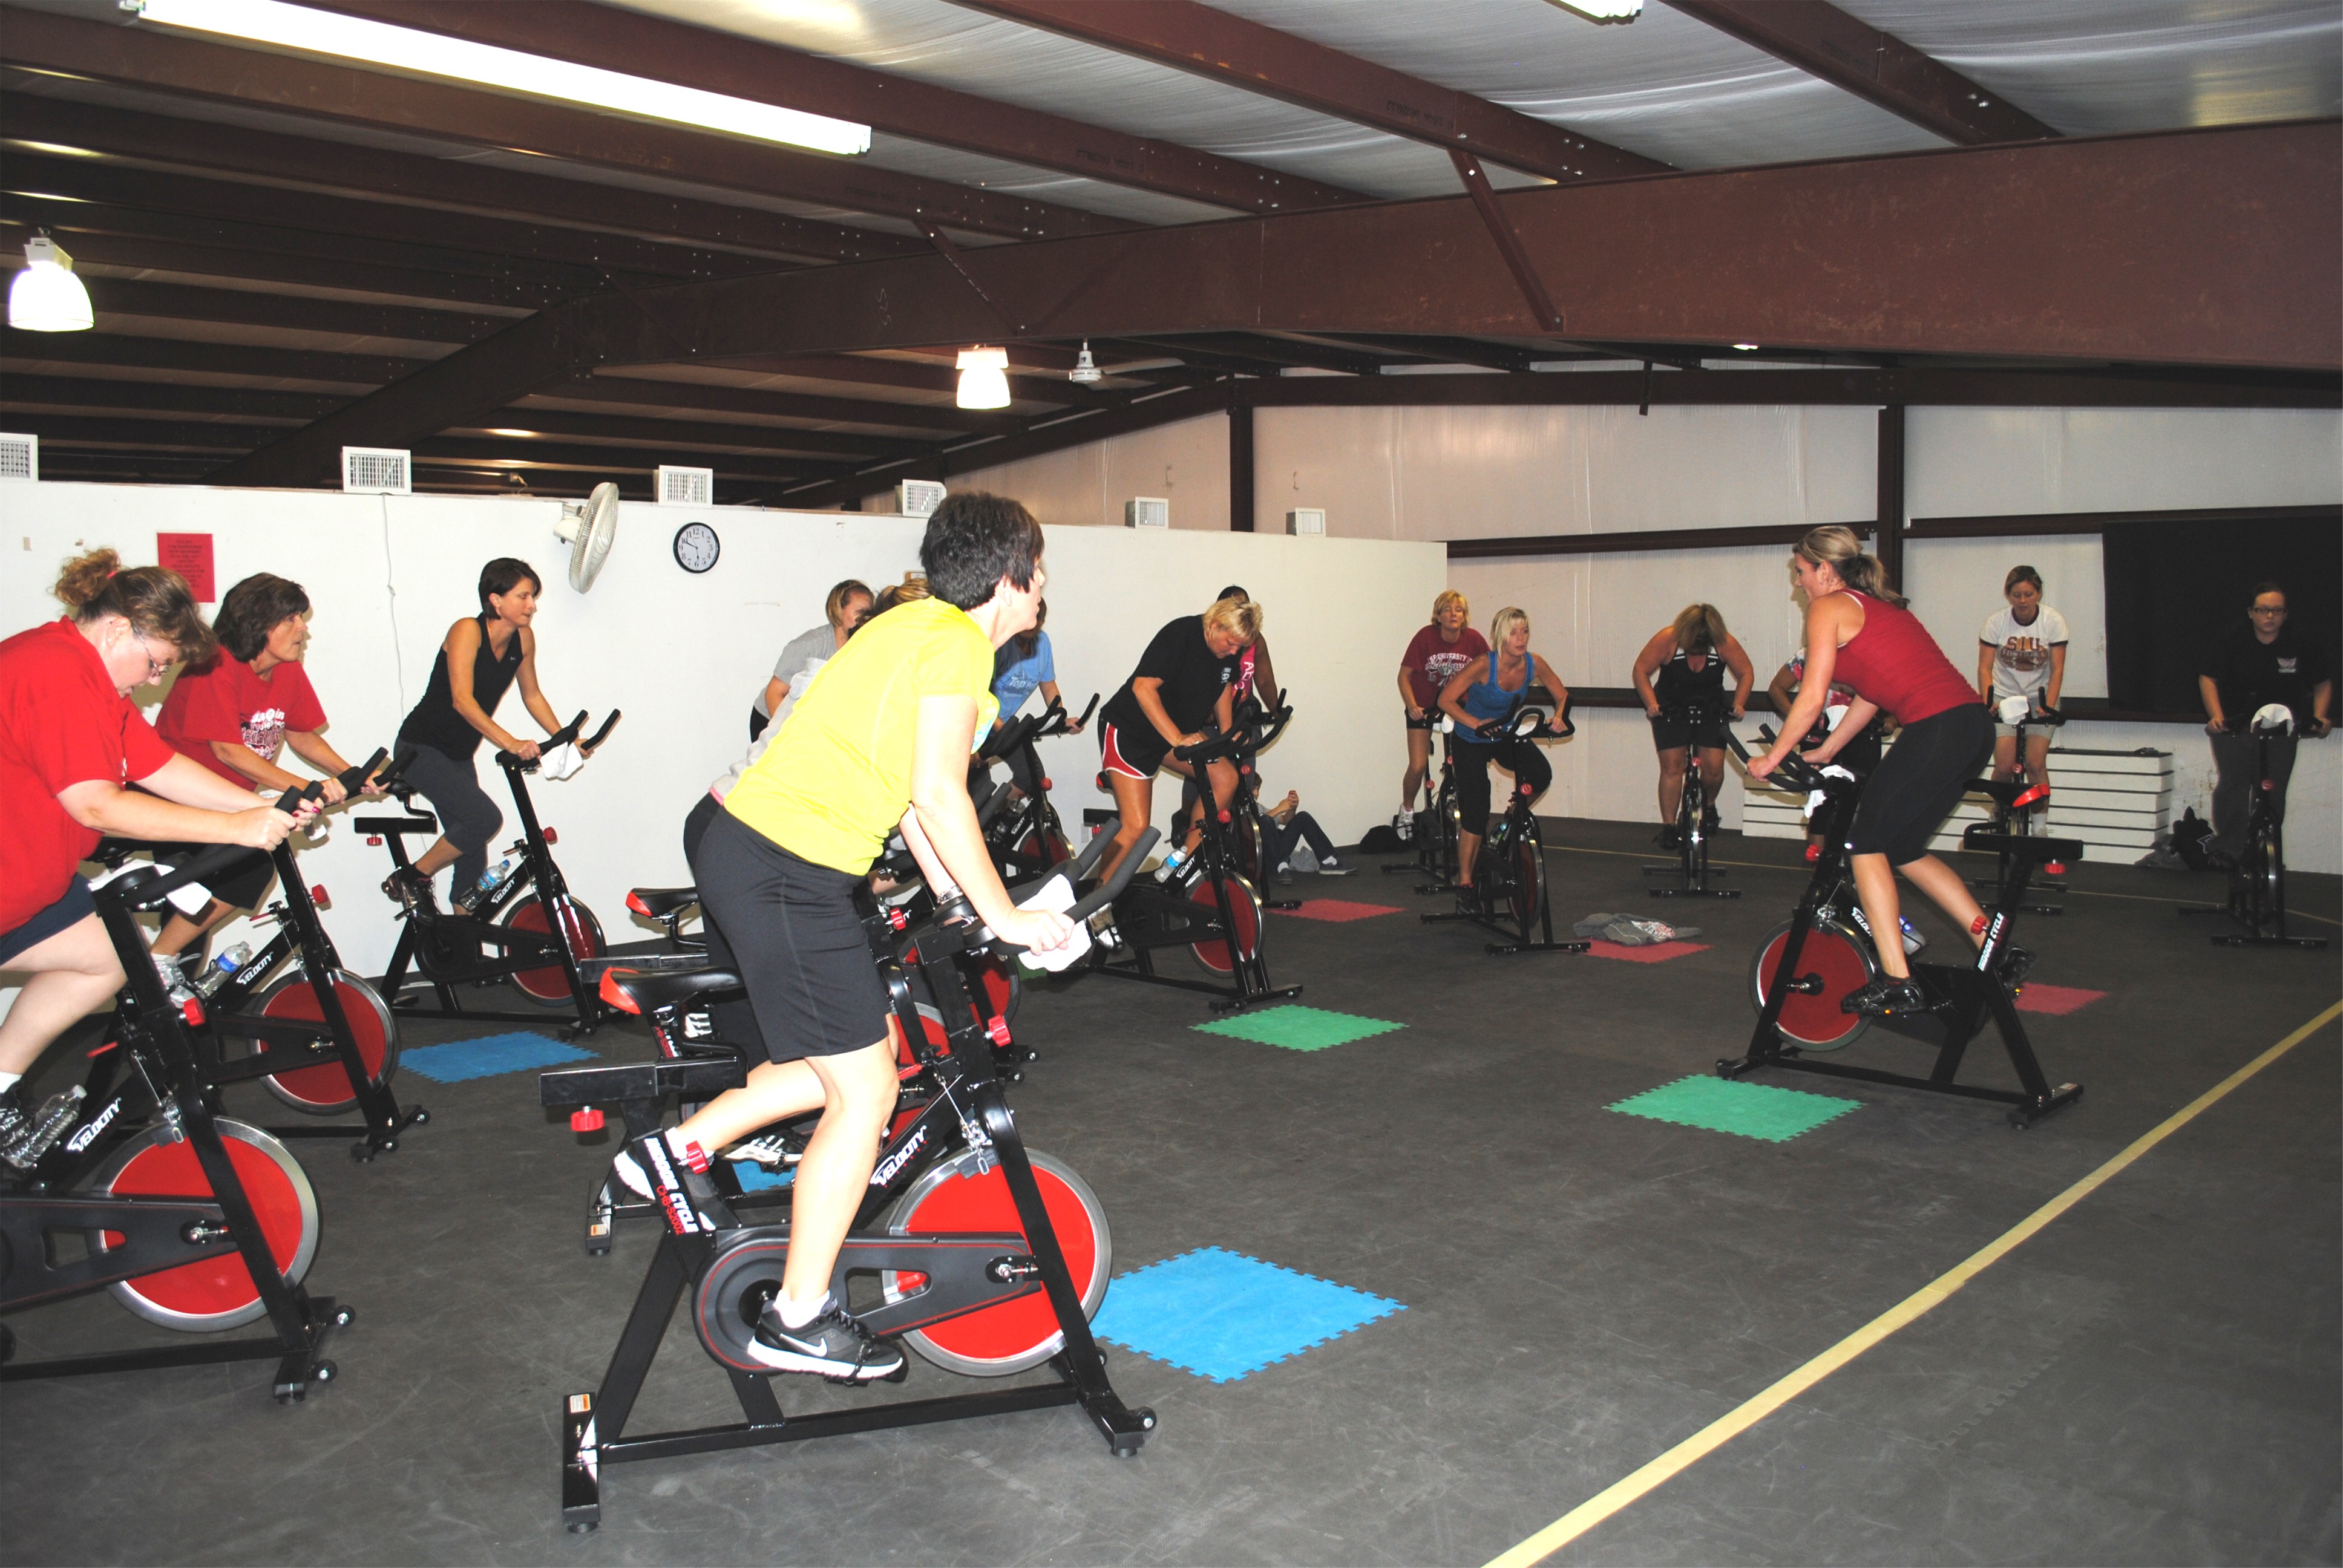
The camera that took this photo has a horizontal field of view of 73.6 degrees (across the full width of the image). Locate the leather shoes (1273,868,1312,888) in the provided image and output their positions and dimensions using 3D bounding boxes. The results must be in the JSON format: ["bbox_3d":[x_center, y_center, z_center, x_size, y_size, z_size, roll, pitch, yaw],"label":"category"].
[{"bbox_3d":[0.833,0.643,10.732,0.277,0.087,0.185,-3,10,-41],"label":"leather shoes"}]

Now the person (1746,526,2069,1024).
[{"bbox_3d":[2.780,-0.058,6.174,0.909,1.854,0.669,4,13,21],"label":"person"}]

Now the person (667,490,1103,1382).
[{"bbox_3d":[-0.795,0.409,3.882,1.093,2.199,0.523,-4,13,-15],"label":"person"}]

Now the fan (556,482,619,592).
[{"bbox_3d":[-3.096,-1.278,8.301,0.227,0.529,0.535,15,28,9],"label":"fan"}]

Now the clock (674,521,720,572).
[{"bbox_3d":[-2.697,-1.340,8.901,0.262,0.251,0.061,-10,8,-43],"label":"clock"}]

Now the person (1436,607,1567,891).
[{"bbox_3d":[1.959,-0.166,9.280,0.710,1.640,1.587,2,12,12],"label":"person"}]

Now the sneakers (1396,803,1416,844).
[{"bbox_3d":[1.451,0.254,9.577,0.106,0.130,0.341,-1,-17,4],"label":"sneakers"}]

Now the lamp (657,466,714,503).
[{"bbox_3d":[-2.796,-1.706,9.033,0.307,0.215,0.326,-3,9,-22],"label":"lamp"}]

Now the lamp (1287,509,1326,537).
[{"bbox_3d":[1.038,-2.014,12.150,0.256,0.200,0.694,0,12,1],"label":"lamp"}]

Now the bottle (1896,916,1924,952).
[{"bbox_3d":[2.974,0.601,6.285,0.085,0.107,0.245,3,10,28],"label":"bottle"}]

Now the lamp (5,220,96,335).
[{"bbox_3d":[-5.405,-2.413,7.519,0.277,0.447,0.645,-8,14,-30],"label":"lamp"}]

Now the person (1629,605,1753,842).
[{"bbox_3d":[3.565,-0.369,10.778,0.726,1.652,1.137,3,13,19],"label":"person"}]

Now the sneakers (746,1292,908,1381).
[{"bbox_3d":[-0.845,1.388,3.950,0.429,0.188,0.162,5,-1,-17],"label":"sneakers"}]
